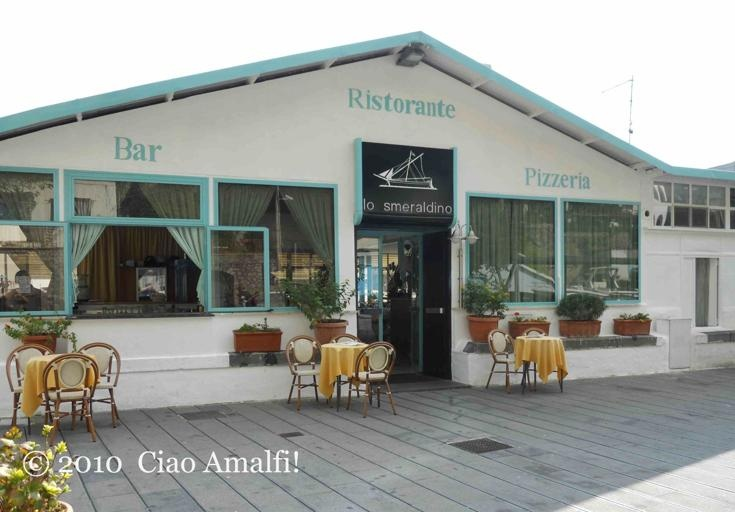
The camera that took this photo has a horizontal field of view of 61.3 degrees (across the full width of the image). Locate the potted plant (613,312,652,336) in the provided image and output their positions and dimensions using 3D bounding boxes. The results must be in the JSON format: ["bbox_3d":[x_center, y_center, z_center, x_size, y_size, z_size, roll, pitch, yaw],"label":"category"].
[{"bbox_3d":[5.238,1.372,12.267,0.624,0.443,0.410,2,-4,-8],"label":"potted plant"}]

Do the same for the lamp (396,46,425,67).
[{"bbox_3d":[0.761,-3.544,11.051,0.319,0.289,0.521,26,0,-10],"label":"lamp"}]

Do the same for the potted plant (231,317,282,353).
[{"bbox_3d":[-1.804,1.391,10.176,0.780,0.535,0.466,1,-2,-19],"label":"potted plant"}]

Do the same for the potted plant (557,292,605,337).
[{"bbox_3d":[4.046,1.127,12.205,0.985,0.988,0.776,1,-2,0],"label":"potted plant"}]

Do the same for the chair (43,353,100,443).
[{"bbox_3d":[-4.020,1.904,8.421,0.657,1.175,0.721,0,-2,-30],"label":"chair"}]

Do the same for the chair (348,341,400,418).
[{"bbox_3d":[0.055,1.899,9.805,0.771,1.086,1.295,-1,-3,-1],"label":"chair"}]

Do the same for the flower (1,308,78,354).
[{"bbox_3d":[-4.861,1.132,9.284,0.890,0.601,0.605,1,1,-26],"label":"flower"}]

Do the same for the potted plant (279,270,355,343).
[{"bbox_3d":[-0.759,0.899,10.795,1.379,1.437,1.046,-1,-2,-4],"label":"potted plant"}]

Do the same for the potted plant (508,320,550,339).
[{"bbox_3d":[3.024,1.374,11.567,0.559,0.254,0.374,2,-5,-7],"label":"potted plant"}]

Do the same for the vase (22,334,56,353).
[{"bbox_3d":[-4.853,1.268,9.240,0.357,0.418,0.312,1,-5,-20],"label":"vase"}]

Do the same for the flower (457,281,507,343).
[{"bbox_3d":[2.084,0.952,11.610,1.141,1.368,0.963,2,3,1],"label":"flower"}]

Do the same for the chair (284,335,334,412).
[{"bbox_3d":[-1.033,1.847,10.105,0.874,1.502,0.937,1,-5,-19],"label":"chair"}]
